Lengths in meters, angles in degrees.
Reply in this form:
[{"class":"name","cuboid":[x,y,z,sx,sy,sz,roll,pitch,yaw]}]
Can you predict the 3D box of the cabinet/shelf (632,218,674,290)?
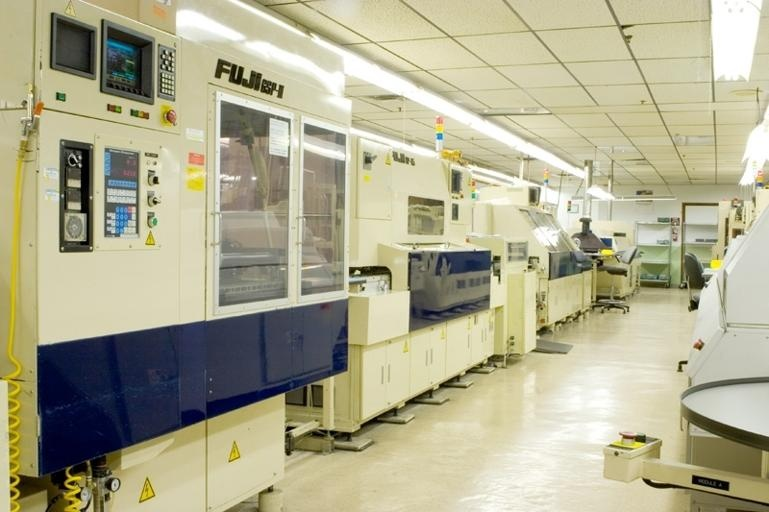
[{"class":"cabinet/shelf","cuboid":[7.718,-0.071,16.583,1.001,1.814,0.604,2,4,22]}]
